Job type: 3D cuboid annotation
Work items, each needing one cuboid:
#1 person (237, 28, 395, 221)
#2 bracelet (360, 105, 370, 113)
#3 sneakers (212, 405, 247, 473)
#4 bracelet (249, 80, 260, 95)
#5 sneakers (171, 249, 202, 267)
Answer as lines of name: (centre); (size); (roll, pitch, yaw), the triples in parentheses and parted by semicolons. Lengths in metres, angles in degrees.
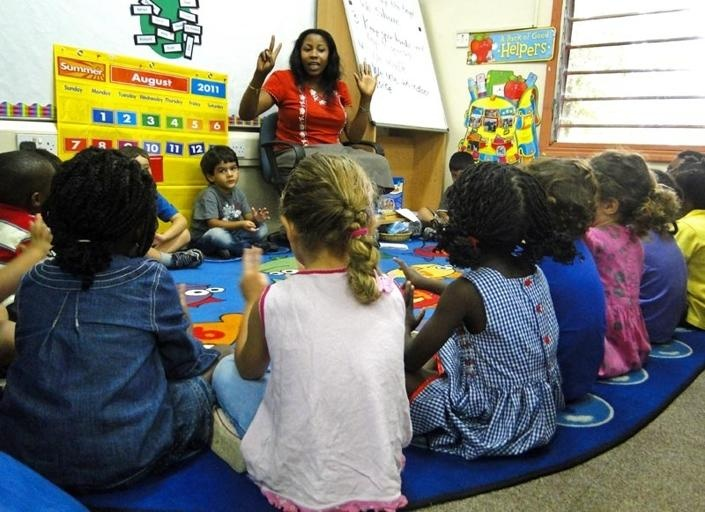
person: (-0.212, -0.816, 3.436); (0.871, 1.339, 0.766); (3, 17, 7)
bracelet: (0.084, -1.008, 3.539); (0.044, 0.034, 0.045); (13, 8, 12)
sneakers: (-0.337, 0.489, 1.377); (0.046, 0.122, 0.159); (-7, 15, -36)
bracelet: (-0.597, -1.025, 3.124); (0.055, 0.048, 0.068); (26, 30, 13)
sneakers: (-0.891, -0.001, 2.823); (0.202, 0.070, 0.084); (-7, 16, -17)
